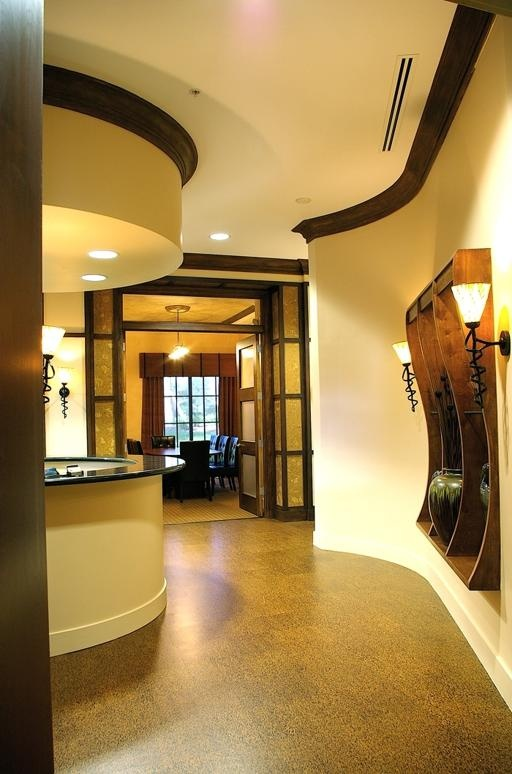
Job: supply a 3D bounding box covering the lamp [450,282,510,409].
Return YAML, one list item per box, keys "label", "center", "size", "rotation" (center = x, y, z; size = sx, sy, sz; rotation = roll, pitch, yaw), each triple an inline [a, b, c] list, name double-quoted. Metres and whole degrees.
- label: "lamp"
  center: [0.983, -0.179, 2.215]
  size: [0.206, 0.535, 0.382]
  rotation: [-2, -4, 23]

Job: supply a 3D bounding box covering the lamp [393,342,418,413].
- label: "lamp"
  center: [1.214, -0.078, 4.071]
  size: [0.170, 0.556, 0.806]
  rotation: [-2, -4, 16]

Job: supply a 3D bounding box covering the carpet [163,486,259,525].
- label: "carpet"
  center: [-0.735, 1.796, 7.353]
  size: [1.205, 0.064, 1.939]
  rotation: [0, -5, -11]

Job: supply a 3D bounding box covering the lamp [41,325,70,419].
- label: "lamp"
  center: [-1.874, -0.199, 4.747]
  size: [0.244, 0.934, 1.951]
  rotation: [1, -5, -21]

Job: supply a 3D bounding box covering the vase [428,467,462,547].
- label: "vase"
  center: [1.063, 0.673, 2.866]
  size: [0.196, 0.406, 0.214]
  rotation: [2, 2, -9]
